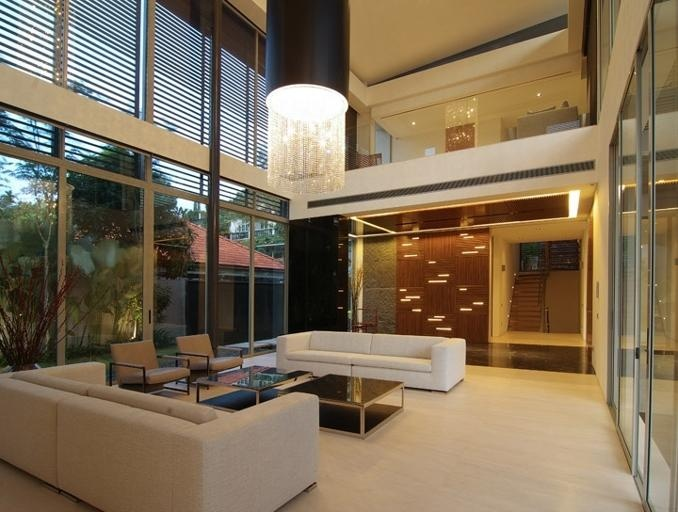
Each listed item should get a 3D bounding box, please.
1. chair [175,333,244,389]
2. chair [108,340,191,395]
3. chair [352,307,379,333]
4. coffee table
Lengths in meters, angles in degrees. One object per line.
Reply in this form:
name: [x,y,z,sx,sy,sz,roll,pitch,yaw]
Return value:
chair: [-1.916,1.520,7.846,0.792,0.633,0.884,-4,-4,37]
chair: [-2.526,1.507,7.022,0.695,0.772,0.879,-2,-3,26]
chair: [0.651,1.700,13.264,0.617,0.589,1.096,5,8,11]
coffee table: [0.042,1.793,6.524,1.208,0.382,1.172,21,-37,-23]
